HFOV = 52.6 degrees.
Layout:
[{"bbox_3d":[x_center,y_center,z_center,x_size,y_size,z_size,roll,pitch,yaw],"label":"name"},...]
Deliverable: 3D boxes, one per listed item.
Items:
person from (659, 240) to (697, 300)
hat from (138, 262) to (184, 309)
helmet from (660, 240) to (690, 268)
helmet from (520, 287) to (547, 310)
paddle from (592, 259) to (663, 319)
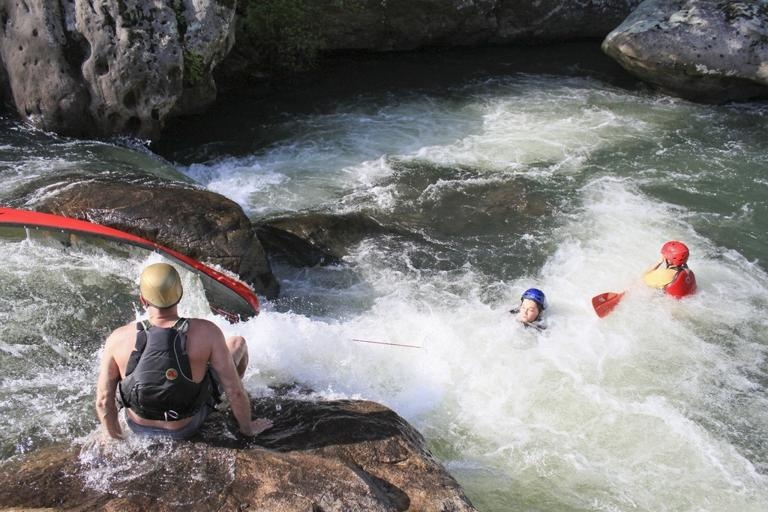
[{"bbox_3d":[4.821,0.267,12.771,0.625,0.803,0.505,-26,37,-9],"label":"person"},{"bbox_3d":[-2.777,0.306,9.619,0.544,0.507,0.666,-5,7,-25],"label":"hat"},{"bbox_3d":[4.706,-0.083,12.686,0.387,0.421,0.455,6,26,-2],"label":"helmet"},{"bbox_3d":[2.422,0.671,12.400,0.365,0.289,0.336,27,43,24],"label":"helmet"},{"bbox_3d":[4.055,0.585,12.937,1.803,0.094,0.408,-27,75,-22],"label":"paddle"}]
